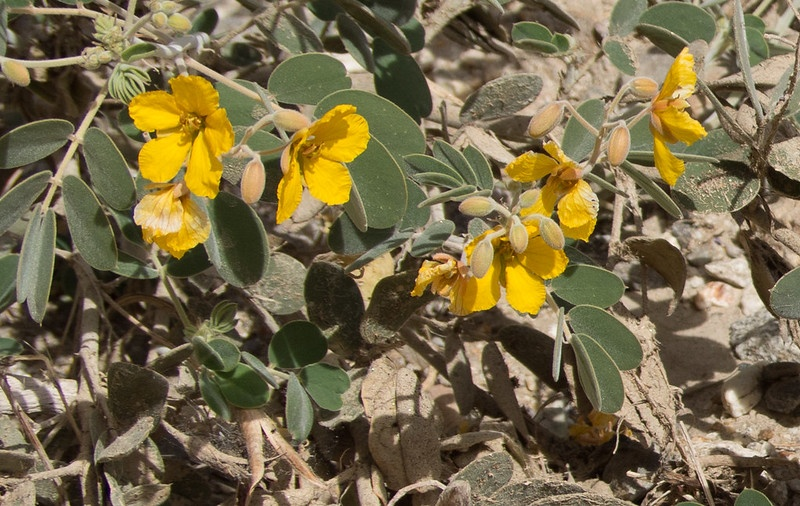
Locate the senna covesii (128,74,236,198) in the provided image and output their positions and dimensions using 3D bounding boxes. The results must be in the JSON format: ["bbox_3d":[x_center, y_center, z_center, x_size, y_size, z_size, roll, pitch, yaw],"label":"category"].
[{"bbox_3d":[-0.679,-0.361,2.385,0.335,0.357,0.087,8,13,21],"label":"senna covesii"}]

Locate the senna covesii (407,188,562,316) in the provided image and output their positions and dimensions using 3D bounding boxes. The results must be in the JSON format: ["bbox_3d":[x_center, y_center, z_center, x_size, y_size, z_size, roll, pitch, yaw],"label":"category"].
[{"bbox_3d":[0.311,0.061,2.556,0.431,0.433,0.289,37,24,-27],"label":"senna covesii"}]

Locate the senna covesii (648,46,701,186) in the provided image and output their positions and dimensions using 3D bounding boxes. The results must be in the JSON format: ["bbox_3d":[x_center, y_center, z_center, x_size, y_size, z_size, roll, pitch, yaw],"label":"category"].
[{"bbox_3d":[0.901,-0.439,2.514,0.172,0.449,0.144,7,13,18],"label":"senna covesii"}]

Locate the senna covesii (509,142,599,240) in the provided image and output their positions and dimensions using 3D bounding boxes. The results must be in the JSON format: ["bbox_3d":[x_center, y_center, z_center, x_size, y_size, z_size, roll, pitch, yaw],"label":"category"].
[{"bbox_3d":[0.497,-0.207,2.546,0.242,0.317,0.198,-2,13,-22],"label":"senna covesii"}]

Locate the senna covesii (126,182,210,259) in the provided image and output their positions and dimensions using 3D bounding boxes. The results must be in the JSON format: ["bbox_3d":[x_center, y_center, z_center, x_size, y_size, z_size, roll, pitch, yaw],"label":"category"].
[{"bbox_3d":[-0.728,-0.110,2.461,0.230,0.222,0.113,-30,-13,-9],"label":"senna covesii"}]

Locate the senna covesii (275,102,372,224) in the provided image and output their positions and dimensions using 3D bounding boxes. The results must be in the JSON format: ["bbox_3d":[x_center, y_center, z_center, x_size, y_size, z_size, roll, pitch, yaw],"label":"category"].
[{"bbox_3d":[-0.279,-0.327,2.477,0.338,0.123,0.301,-8,-31,41],"label":"senna covesii"}]
